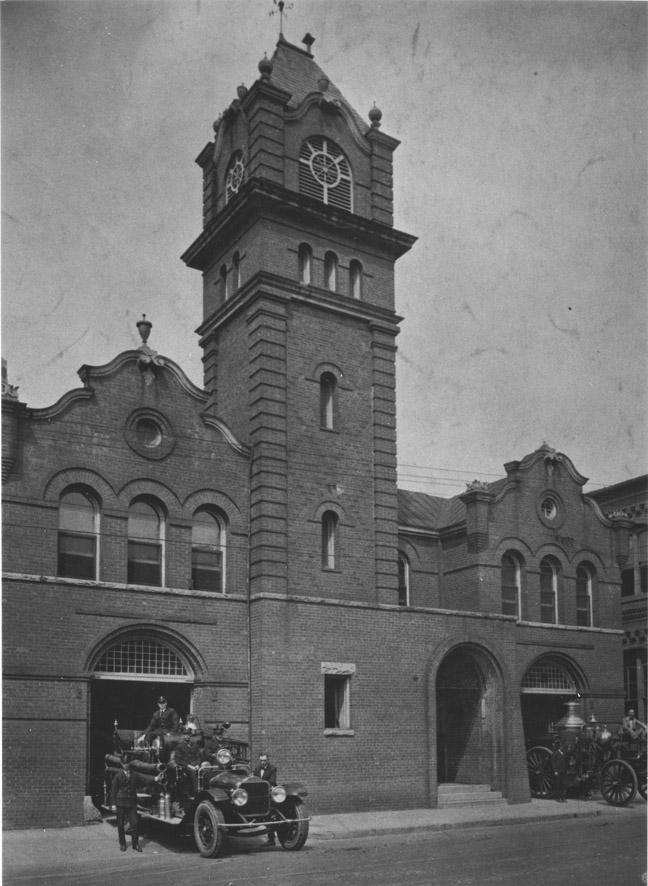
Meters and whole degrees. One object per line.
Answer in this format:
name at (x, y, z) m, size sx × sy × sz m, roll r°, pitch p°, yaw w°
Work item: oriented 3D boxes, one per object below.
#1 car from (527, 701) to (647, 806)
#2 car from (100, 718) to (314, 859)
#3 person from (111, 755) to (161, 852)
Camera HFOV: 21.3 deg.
car at (4.925, 5.954, 31.974) m, size 0.886 × 1.733 × 2.514 m, roll 1°, pitch 4°, yaw -42°
car at (-1.900, 5.341, 26.334) m, size 1.602 × 1.862 × 3.735 m, roll 3°, pitch -7°, yaw -31°
person at (-2.910, 5.459, 25.767) m, size 0.511 × 1.110 × 1.304 m, roll 3°, pitch 3°, yaw -7°
